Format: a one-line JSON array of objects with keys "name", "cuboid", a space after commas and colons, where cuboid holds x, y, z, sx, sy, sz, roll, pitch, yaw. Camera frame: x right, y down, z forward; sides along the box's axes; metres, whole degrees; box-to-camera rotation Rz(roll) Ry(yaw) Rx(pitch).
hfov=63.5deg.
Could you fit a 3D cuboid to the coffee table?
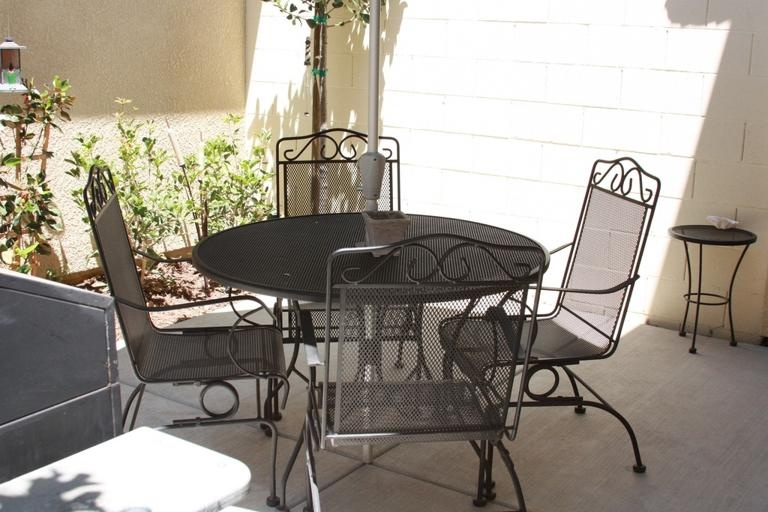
[{"name": "coffee table", "cuboid": [2.109, 0.208, 4.082, 0.496, 0.792, 0.468, 10, 16, 31]}]
